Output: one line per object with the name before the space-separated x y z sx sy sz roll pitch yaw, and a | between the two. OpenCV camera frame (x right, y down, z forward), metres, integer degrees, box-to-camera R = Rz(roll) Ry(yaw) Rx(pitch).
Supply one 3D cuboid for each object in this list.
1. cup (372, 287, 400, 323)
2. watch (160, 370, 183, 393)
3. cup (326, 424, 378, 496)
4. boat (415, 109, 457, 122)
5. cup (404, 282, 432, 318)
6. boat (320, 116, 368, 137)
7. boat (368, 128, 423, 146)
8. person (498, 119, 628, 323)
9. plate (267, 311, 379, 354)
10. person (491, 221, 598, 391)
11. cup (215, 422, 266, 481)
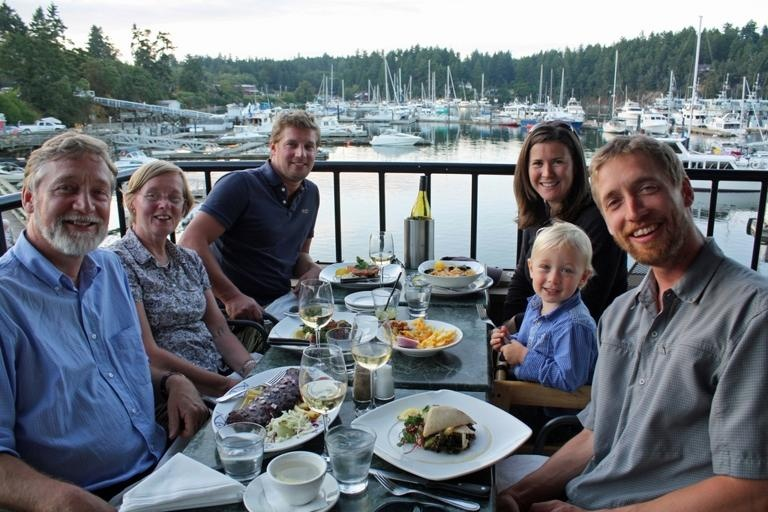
cup | 0.009 0.223 2.580 0.126 0.133 0.128 1 6 0
watch | -0.936 0.548 2.590 0.066 0.081 0.033 7 -6 6
cup | -0.121 0.633 1.813 0.172 0.184 0.184 12 2 -1
boat | 6.480 -16.401 69.620 4.290 1.428 2.804 4 16 10
cup | 0.160 0.208 2.746 0.135 0.144 0.137 2 -1 0
boat | -3.187 -9.833 45.000 2.168 1.455 4.576 3 12 23
boat | 0.681 -8.013 40.210 3.013 1.104 2.099 -2 11 -2
person | 1.053 -0.191 3.444 0.798 1.170 0.739 -6 9 3
plate | -0.300 0.330 2.520 0.328 0.370 0.074 15 49 -18
person | 0.798 0.223 2.835 0.544 0.722 0.554 1 9 -15
cup | -0.439 0.644 1.867 0.150 0.119 0.154 -4 -2 0
